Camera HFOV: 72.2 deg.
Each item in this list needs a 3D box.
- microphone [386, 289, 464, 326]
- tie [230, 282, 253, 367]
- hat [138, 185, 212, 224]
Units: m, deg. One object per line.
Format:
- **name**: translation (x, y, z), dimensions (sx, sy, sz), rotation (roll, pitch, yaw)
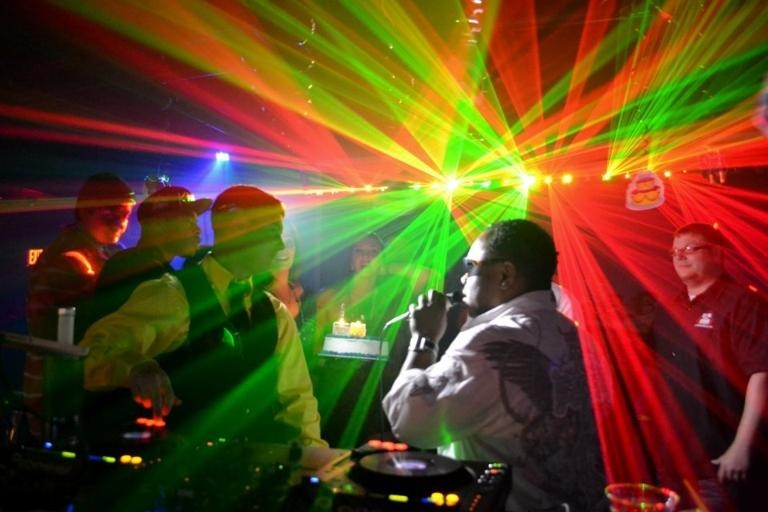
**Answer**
- **microphone**: translation (0.368, 0.506, 5.146), dimensions (0.637, 0.245, 0.241), rotation (-15, -48, 7)
- **tie**: translation (-1.027, 0.435, 3.736), dimensions (0.066, 0.523, 0.218), rotation (-8, -23, 45)
- **hat**: translation (-1.755, -0.440, 4.467), dimensions (0.540, 0.215, 0.366), rotation (-10, 10, -33)
